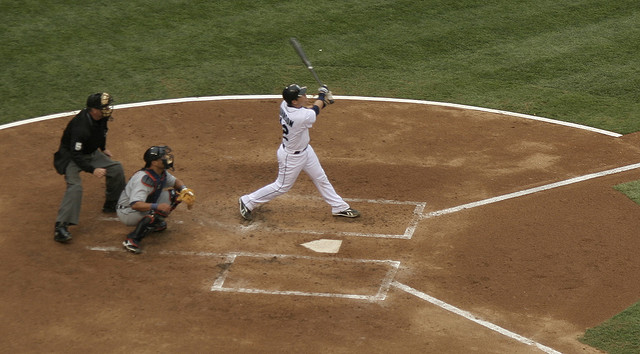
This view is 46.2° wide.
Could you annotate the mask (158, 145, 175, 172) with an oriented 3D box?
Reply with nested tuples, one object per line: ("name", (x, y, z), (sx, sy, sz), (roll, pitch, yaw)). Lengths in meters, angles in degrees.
("mask", (-3.272, -0.381, 16.061), (0.271, 0.681, 0.505), (-9, 65, -9))
